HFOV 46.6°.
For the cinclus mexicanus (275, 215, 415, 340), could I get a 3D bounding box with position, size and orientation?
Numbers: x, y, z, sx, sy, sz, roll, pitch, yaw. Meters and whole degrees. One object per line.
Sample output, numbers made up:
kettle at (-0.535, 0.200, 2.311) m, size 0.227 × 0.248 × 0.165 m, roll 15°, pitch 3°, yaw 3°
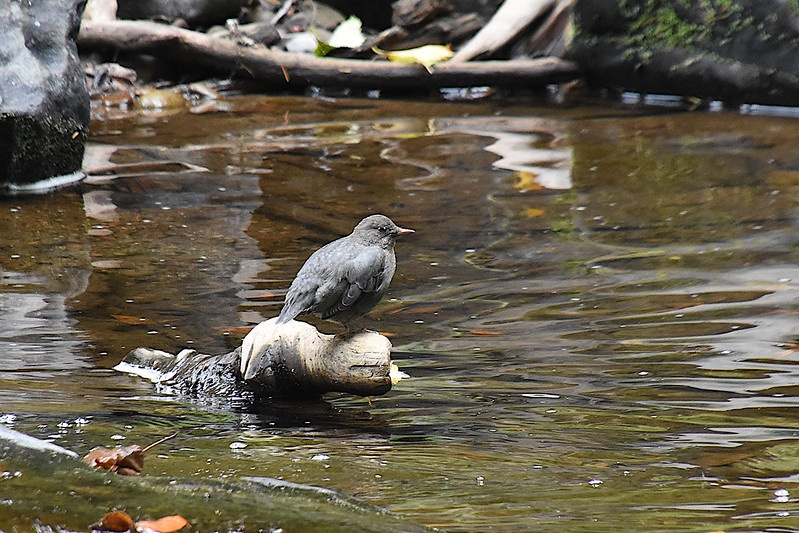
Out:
cinclus mexicanus at (-0.289, 0.036, 5.137) m, size 0.481 × 0.645 × 0.538 m, roll 16°, pitch 17°, yaw 11°
